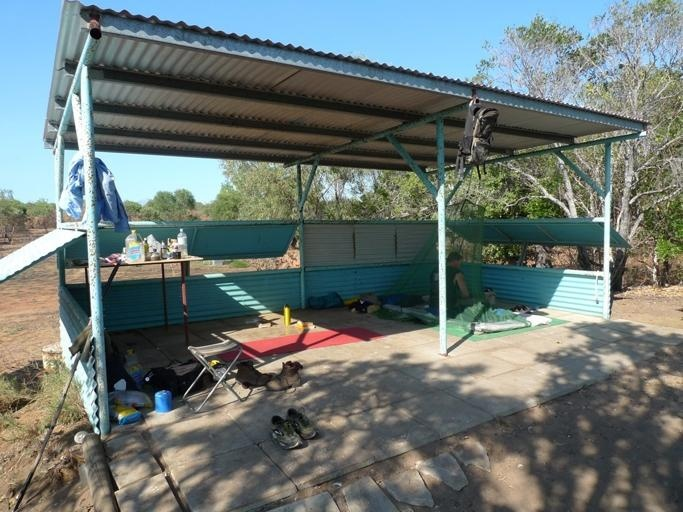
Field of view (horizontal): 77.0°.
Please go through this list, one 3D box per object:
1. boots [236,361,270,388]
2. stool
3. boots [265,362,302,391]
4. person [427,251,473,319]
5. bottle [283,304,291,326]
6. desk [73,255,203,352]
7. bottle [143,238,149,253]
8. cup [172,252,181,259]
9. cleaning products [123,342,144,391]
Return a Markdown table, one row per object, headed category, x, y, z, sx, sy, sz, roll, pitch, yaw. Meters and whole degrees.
| category | x | y | z | sx | sy | sz | roll | pitch | yaw |
| --- | --- | --- | --- | --- | --- | --- | --- | --- | --- |
| boots | -1.424 | 1.872 | 6.838 | 0.738 | 0.433 | 0.246 | -3 | 10 | -7 |
| stool | -2.018 | 1.701 | 6.620 | 1.188 | 1.075 | 0.862 | -3 | 6 | -28 |
| boots | -0.858 | 1.882 | 6.762 | 0.219 | 0.296 | 0.654 | 17 | 21 | 33 |
| person | 2.853 | 0.717 | 10.388 | 1.030 | 1.585 | 0.967 | -24 | 20 | -24 |
| bottle | -1.315 | 1.401 | 10.322 | 0.165 | 0.532 | 0.420 | -3 | 9 | -8 |
| desk | -4.037 | 0.693 | 9.178 | 2.689 | 1.671 | 2.208 | -1 | 1 | -31 |
| bottle | -3.565 | -0.139 | 7.827 | 0.067 | 0.191 | 0.168 | -3 | 9 | -7 |
| cup | -3.208 | -0.011 | 8.341 | 0.093 | 0.129 | 0.273 | 0 | 9 | 6 |
| cleaning products | -3.418 | 1.828 | 7.038 | 0.171 | 0.408 | 0.466 | -10 | -25 | -8 |
